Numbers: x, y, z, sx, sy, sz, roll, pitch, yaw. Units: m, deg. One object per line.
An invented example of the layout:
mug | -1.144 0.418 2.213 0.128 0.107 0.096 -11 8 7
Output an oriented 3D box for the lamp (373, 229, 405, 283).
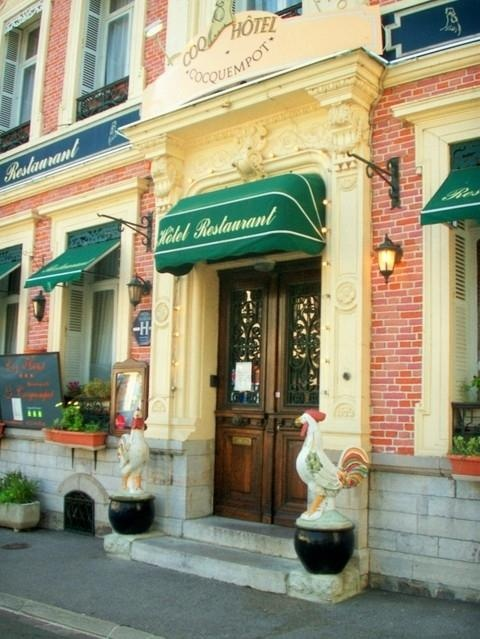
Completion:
lamp | 1.454 -0.612 6.861 0.219 0.453 0.261 5 -8 -28
